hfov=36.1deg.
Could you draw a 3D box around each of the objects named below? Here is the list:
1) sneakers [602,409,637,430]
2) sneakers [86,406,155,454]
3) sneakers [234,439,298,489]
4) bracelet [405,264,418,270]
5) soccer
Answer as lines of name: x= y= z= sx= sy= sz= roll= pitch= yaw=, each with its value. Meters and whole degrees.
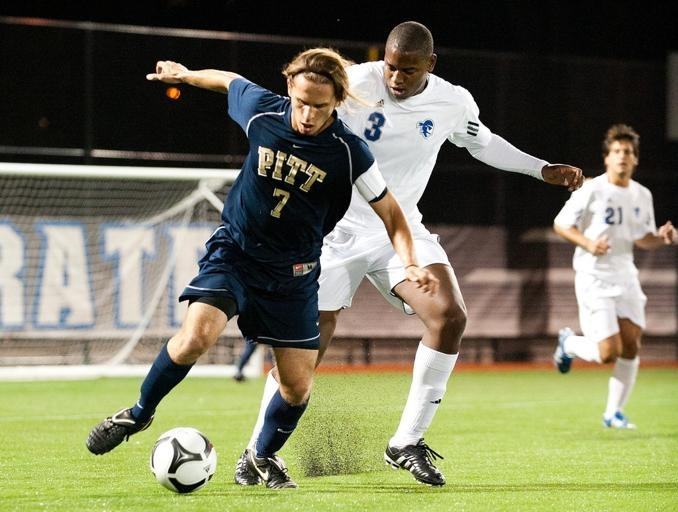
sneakers: x=2.720 y=1.607 z=10.138 sx=0.357 sy=0.148 sz=0.119 roll=-3 pitch=-8 yaw=25
sneakers: x=-1.639 y=1.273 z=7.756 sx=0.570 sy=0.242 sz=0.190 roll=-17 pitch=43 yaw=-19
sneakers: x=-0.614 y=1.624 z=8.059 sx=0.585 sy=0.263 sz=0.212 roll=14 pitch=3 yaw=20
bracelet: x=0.523 y=0.086 z=7.501 sx=0.086 sy=0.040 sz=0.059 roll=4 pitch=3 yaw=3
soccer: x=-1.156 y=1.527 z=7.915 sx=0.468 sy=0.444 sz=0.454 roll=-12 pitch=16 yaw=4
